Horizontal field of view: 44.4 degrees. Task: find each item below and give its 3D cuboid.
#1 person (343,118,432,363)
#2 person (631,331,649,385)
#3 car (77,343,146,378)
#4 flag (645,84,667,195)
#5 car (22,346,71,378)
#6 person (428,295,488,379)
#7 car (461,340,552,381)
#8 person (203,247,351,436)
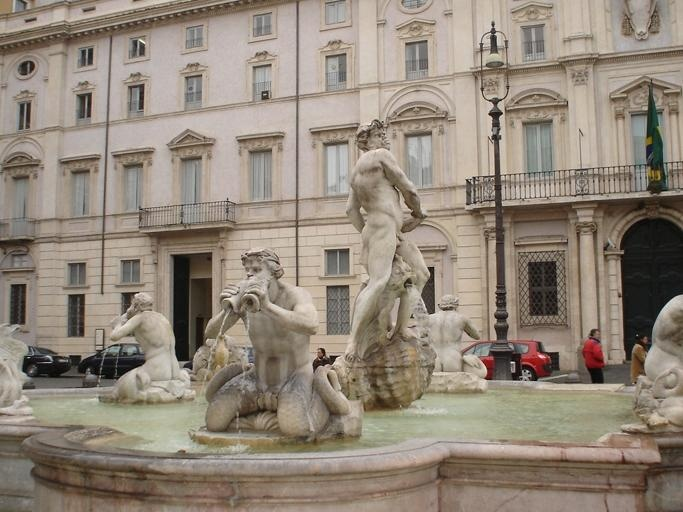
[{"bbox_3d":[0.572,-0.244,10.776,1.037,3.138,0.929,-2,-9,6],"label":"person"},{"bbox_3d":[5.717,2.060,15.976,0.433,1.155,0.415,-4,16,14],"label":"person"},{"bbox_3d":[-8.018,3.527,29.294,2.552,1.166,1.195,7,11,-26],"label":"car"},{"bbox_3d":[10.088,-3.877,27.086,0.600,3.852,1.612,-5,-10,21],"label":"flag"},{"bbox_3d":[-10.942,3.904,30.926,1.536,1.107,1.235,-4,-10,17],"label":"car"},{"bbox_3d":[1.831,1.263,13.373,0.799,1.375,0.861,-3,-9,9],"label":"person"},{"bbox_3d":[4.780,2.784,22.814,2.776,1.269,1.635,3,-6,-2],"label":"car"},{"bbox_3d":[-0.658,0.887,8.443,1.443,1.892,0.994,-1,-9,-1],"label":"person"}]
